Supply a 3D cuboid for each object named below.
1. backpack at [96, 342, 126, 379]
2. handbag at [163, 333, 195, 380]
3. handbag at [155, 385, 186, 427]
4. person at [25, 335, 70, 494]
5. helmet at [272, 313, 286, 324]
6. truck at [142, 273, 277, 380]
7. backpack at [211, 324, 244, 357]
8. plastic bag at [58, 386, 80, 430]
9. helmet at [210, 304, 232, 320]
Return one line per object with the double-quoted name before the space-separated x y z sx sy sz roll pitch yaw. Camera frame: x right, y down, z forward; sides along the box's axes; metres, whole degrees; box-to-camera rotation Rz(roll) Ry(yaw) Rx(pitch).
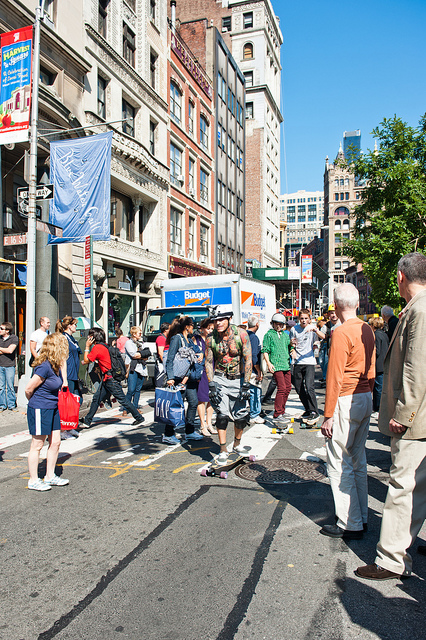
"backpack" -1.585 0.669 8.956 0.577 0.602 0.366 -3 4 -12
"handbag" -0.477 0.522 7.881 0.320 0.388 0.508 -4 38 15
"handbag" -0.580 1.057 7.274 0.463 0.575 0.245 4 4 37
"person" -1.677 0.928 5.728 0.461 1.546 0.300 0 -1 -33
"helmet" 1.092 -0.012 9.492 0.223 0.158 0.230 -1 -1 1
"truck" 0.312 0.021 15.359 4.045 2.188 1.716 0 4 -41
"backpack" 0.165 0.224 6.467 0.283 0.342 0.325 -8 -20 12
"plastic bag" -1.548 0.941 6.031 0.197 0.435 0.409 0 -1 -14
"helmet" 0.087 -0.084 6.209 0.183 0.197 0.145 9 -2 -9
